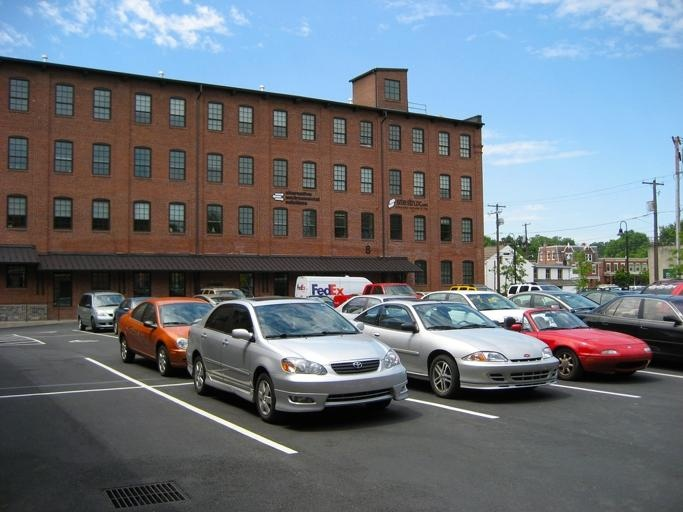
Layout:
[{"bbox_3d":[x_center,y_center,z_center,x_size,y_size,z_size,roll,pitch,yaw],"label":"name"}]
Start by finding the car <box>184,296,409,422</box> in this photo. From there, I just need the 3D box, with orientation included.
[{"bbox_3d":[-1.172,1.721,10.261,1.876,1.398,3.615,3,-5,-32],"label":"car"}]

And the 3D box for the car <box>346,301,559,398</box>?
[{"bbox_3d":[1.977,1.746,12.273,1.887,1.396,4.362,3,-5,-31],"label":"car"}]

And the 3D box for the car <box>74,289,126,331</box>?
[{"bbox_3d":[-12.139,2.640,28.452,2.111,1.765,3.728,2,-7,-29],"label":"car"}]

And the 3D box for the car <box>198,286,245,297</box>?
[{"bbox_3d":[-6.871,2.059,32.235,1.251,0.969,2.698,1,-5,-41],"label":"car"}]

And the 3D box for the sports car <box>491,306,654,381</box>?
[{"bbox_3d":[5.493,2.136,13.595,1.663,1.167,3.368,2,-4,-36],"label":"sports car"}]
